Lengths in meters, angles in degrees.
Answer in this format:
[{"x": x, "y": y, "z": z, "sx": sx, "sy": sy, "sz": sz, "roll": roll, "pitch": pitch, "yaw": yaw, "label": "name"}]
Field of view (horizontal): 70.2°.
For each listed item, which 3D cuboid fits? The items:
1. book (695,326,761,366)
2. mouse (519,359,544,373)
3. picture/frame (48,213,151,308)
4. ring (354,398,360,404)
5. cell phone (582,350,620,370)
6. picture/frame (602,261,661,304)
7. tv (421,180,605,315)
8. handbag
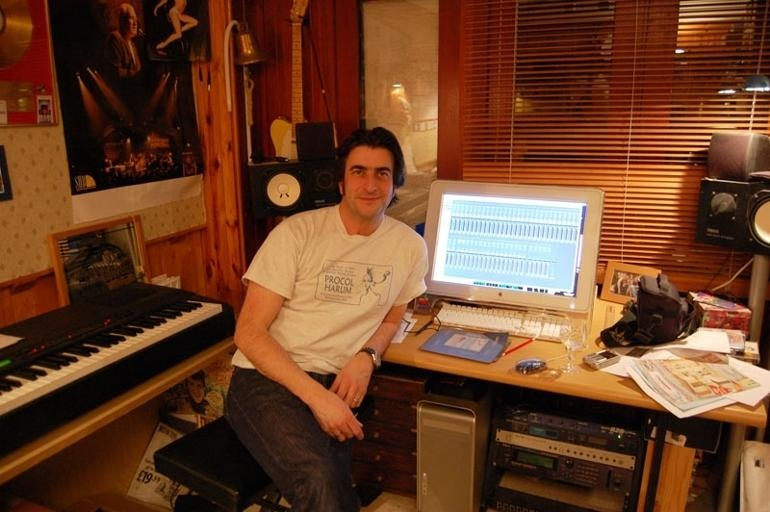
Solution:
[{"x": 1.617, "y": 0.415, "z": 2.597, "sx": 0.202, "sy": 0.047, "sz": 0.205, "roll": 10, "pitch": 24, "yaw": 34, "label": "book"}, {"x": 0.653, "y": 0.477, "z": 2.432, "sx": 0.096, "sy": 0.029, "sz": 0.057, "roll": -6, "pitch": 16, "yaw": -22, "label": "mouse"}, {"x": -1.465, "y": 0.027, "z": 2.762, "sx": 0.031, "sy": 0.355, "sz": 0.408, "roll": 4, "pitch": 20, "yaw": 41, "label": "picture/frame"}, {"x": -0.121, "y": 0.644, "z": 2.435, "sx": 0.018, "sy": 0.017, "sz": 0.004, "roll": 1, "pitch": 4, "yaw": -32, "label": "ring"}, {"x": 0.990, "y": 0.467, "z": 2.485, "sx": 0.110, "sy": 0.026, "sz": 0.081, "roll": -14, "pitch": 23, "yaw": -27, "label": "cell phone"}, {"x": 1.302, "y": 0.139, "z": 2.885, "sx": 0.217, "sy": 0.178, "sz": 0.017, "roll": 8, "pitch": 1, "yaw": 29, "label": "picture/frame"}, {"x": 0.649, "y": -0.034, "z": 2.805, "sx": 0.672, "sy": 0.469, "sz": 0.204, "roll": 5, "pitch": 4, "yaw": 18, "label": "tv"}, {"x": 1.245, "y": 0.237, "z": 2.666, "sx": 0.389, "sy": 0.286, "sz": 0.319, "roll": -3, "pitch": 23, "yaw": 15, "label": "handbag"}]
